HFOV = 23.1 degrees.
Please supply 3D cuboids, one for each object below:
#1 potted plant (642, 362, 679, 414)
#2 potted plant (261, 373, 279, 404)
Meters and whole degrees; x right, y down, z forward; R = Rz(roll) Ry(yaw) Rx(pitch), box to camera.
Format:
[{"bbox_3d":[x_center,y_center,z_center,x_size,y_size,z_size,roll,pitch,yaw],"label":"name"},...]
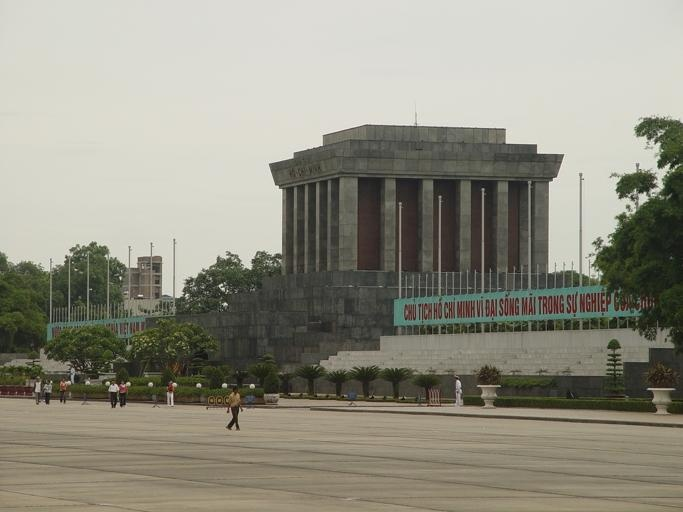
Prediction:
[{"bbox_3d":[16.740,6.873,86.703,1.398,2.725,2.325,-1,-10,10],"label":"potted plant"},{"bbox_3d":[-4.462,8.189,103.695,0.891,2.121,2.102,1,-9,-3],"label":"potted plant"}]
